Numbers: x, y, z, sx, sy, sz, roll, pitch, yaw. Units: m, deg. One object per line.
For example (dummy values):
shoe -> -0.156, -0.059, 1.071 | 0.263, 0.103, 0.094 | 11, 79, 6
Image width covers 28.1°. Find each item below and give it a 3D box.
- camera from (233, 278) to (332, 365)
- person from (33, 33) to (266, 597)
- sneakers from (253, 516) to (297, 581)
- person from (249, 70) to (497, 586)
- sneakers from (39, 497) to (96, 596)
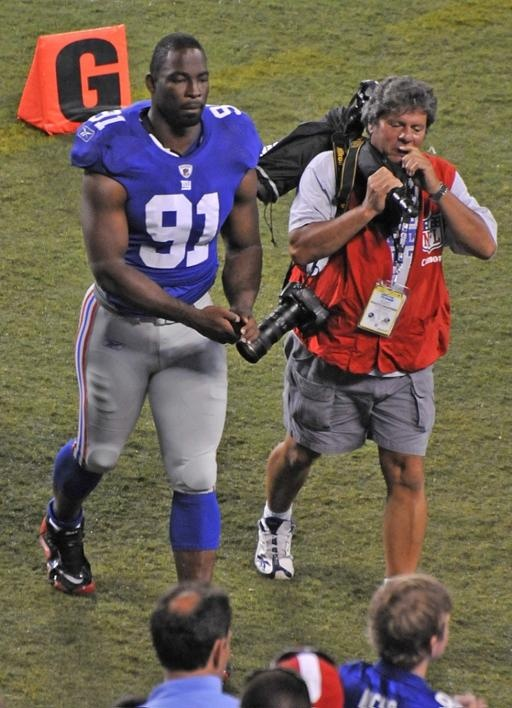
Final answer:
camera -> 0.125, -0.108, 3.566 | 0.374, 0.161, 0.232 | -39, 57, -13
person -> -0.351, 0.006, 3.457 | 0.695, 2.079, 0.918 | 10, 36, -1
sneakers -> 0.075, 0.772, 4.052 | 0.142, 0.111, 0.292 | 0, 22, -3
person -> 0.402, 0.034, 3.683 | 0.696, 1.954, 0.903 | 7, 36, -5
sneakers -> -0.714, 0.702, 3.859 | 0.170, 0.185, 0.408 | -12, 51, -31
